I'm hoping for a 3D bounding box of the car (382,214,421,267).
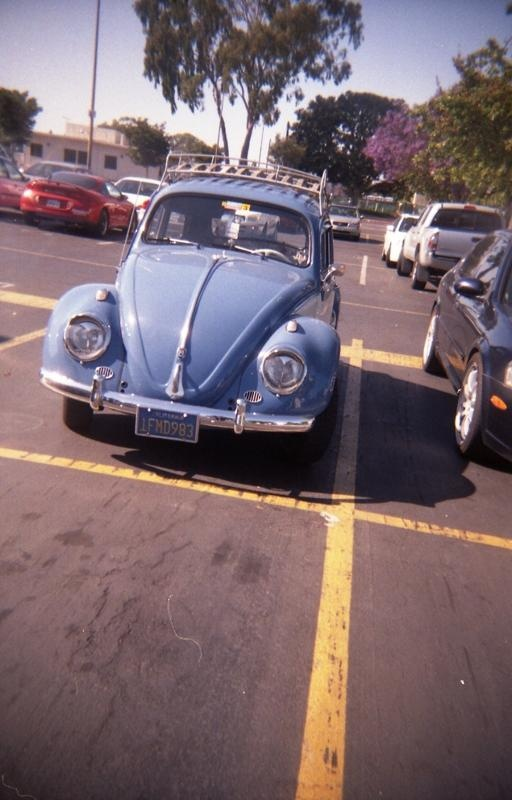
[{"bbox_3d":[5.794,-6.517,18.487,0.928,1.246,2.581,1,28,3],"label":"car"}]
